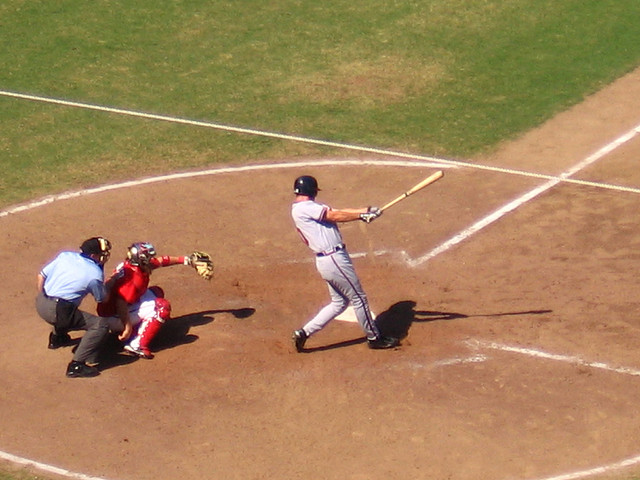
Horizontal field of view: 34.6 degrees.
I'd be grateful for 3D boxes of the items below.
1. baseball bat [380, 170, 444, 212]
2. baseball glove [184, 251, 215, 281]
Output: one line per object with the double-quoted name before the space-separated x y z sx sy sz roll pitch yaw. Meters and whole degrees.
"baseball bat" 1.357 -0.737 16.048 1.217 0.061 0.127 -33 -59 1
"baseball glove" -1.891 0.335 16.426 0.366 0.473 0.233 21 -65 -17
